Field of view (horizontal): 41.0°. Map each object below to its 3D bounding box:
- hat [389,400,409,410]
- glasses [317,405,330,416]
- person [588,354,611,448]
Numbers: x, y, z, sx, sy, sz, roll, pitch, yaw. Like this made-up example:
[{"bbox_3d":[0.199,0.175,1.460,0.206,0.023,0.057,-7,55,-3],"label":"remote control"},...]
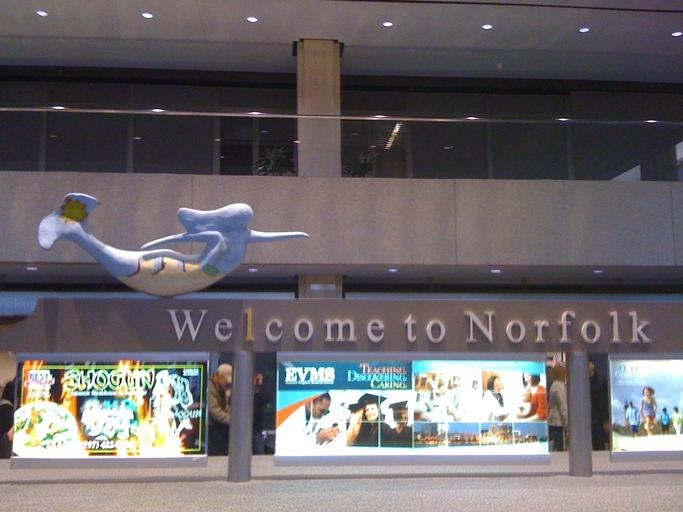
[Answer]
[{"bbox_3d":[0.718,1.851,11.269,0.215,0.103,0.027,0,7,-1],"label":"hat"},{"bbox_3d":[-0.193,1.912,11.249,0.079,0.108,0.035,24,3,-2],"label":"glasses"},{"bbox_3d":[3.830,2.167,13.442,0.249,1.676,0.172,0,-40,9],"label":"person"}]
